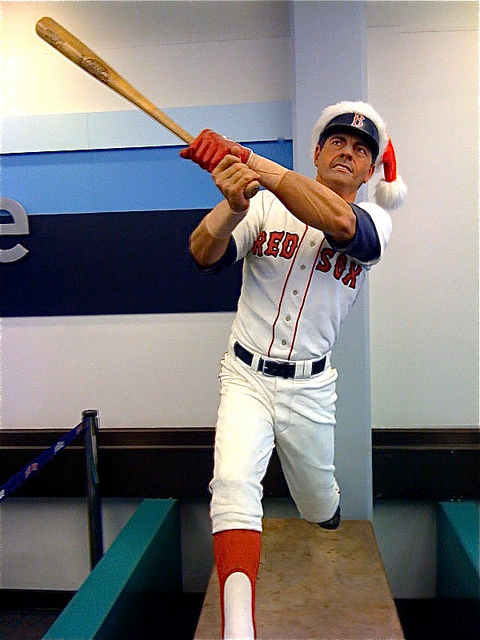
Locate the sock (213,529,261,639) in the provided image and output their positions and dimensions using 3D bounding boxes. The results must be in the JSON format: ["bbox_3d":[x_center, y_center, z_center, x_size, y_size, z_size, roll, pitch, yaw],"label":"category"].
[{"bbox_3d":[-0.007,0.617,1.595,0.111,0.235,0.128,0,8,-1],"label":"sock"}]

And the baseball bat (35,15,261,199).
[{"bbox_3d":[-0.319,-0.803,2.533,0.149,1.154,0.092,-42,-8,-23],"label":"baseball bat"}]

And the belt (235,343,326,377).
[{"bbox_3d":[0.122,0.117,1.942,0.268,0.088,0.091,-1,9,-5],"label":"belt"}]

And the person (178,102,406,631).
[{"bbox_3d":[0.106,0.118,1.849,0.429,1.210,0.729,8,11,44],"label":"person"}]
